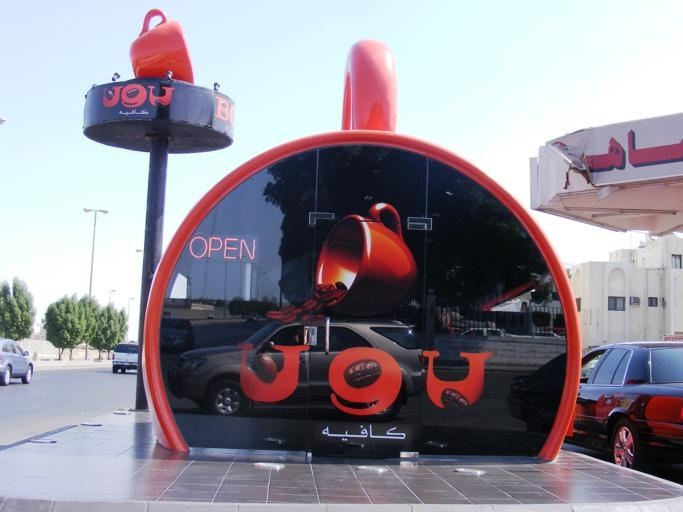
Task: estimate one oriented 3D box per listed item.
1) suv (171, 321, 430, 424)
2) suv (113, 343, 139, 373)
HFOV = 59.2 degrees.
[{"bbox_3d":[-0.618,1.381,8.541,2.907,1.331,1.479,4,-7,-1],"label":"suv"},{"bbox_3d":[-12.791,5.963,35.354,1.294,1.829,1.985,0,-3,-16],"label":"suv"}]
